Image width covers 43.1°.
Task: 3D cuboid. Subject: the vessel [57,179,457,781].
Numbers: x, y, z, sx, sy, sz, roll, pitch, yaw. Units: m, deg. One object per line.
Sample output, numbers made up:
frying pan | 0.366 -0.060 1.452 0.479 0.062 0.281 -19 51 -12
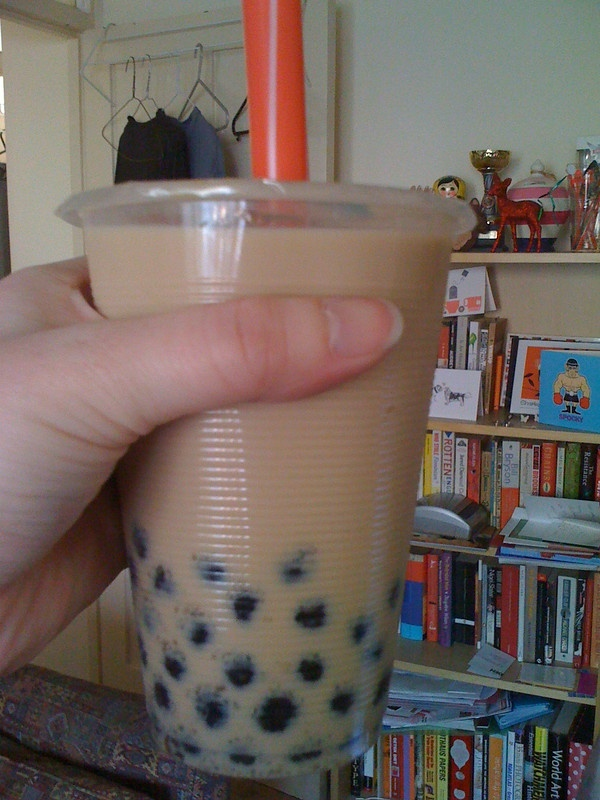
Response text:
vessel | -0.026 0.046 0.392 0.207 0.301 0.101 4 14 9

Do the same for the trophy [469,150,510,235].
trophy | 0.468 -0.522 1.886 0.090 0.204 0.134 2 14 1
